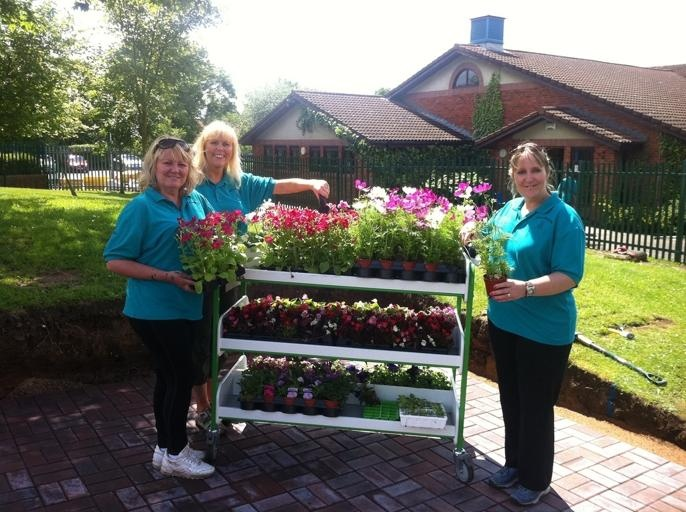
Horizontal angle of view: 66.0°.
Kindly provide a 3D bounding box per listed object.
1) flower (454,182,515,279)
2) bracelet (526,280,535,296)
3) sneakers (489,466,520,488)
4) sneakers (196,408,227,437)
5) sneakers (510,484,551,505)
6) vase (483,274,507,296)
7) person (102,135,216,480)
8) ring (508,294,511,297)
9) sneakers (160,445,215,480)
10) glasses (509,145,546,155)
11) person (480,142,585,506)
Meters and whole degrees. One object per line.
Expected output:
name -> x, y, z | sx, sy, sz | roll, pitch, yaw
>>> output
flower -> 1.201, -0.342, 4.508 | 0.494, 0.649, 0.432 | 12, 20, 4
bracelet -> 1.402, 0.246, 3.967 | 0.061, 0.105, 0.096 | 0, 4, 4
sneakers -> 1.376, 1.894, 4.579 | 0.308, 0.152, 0.120 | 0, 15, -16
sneakers -> -1.364, 1.628, 5.179 | 0.254, 0.345, 0.112 | 2, -17, -21
sneakers -> 1.572, 1.968, 4.401 | 0.340, 0.162, 0.142 | 0, 19, -7
vase -> 1.153, 0.211, 4.034 | 0.152, 0.125, 0.156 | 2, 9, 14
person -> -1.575, 0.446, 4.471 | 0.797, 2.899, 0.637 | -3, 9, -23
ring -> 1.249, 0.297, 3.975 | 0.020, 0.019, 0.005 | 1, 2, 5
sneakers -> -1.342, 1.777, 4.604 | 0.454, 0.244, 0.224 | 4, 7, -6
glasses -> 1.484, -0.865, 4.284 | 0.208, 0.064, 0.211 | 1, 6, 5
person -> 1.509, 0.560, 4.273 | 0.718, 2.922, 0.712 | 6, 10, 35
